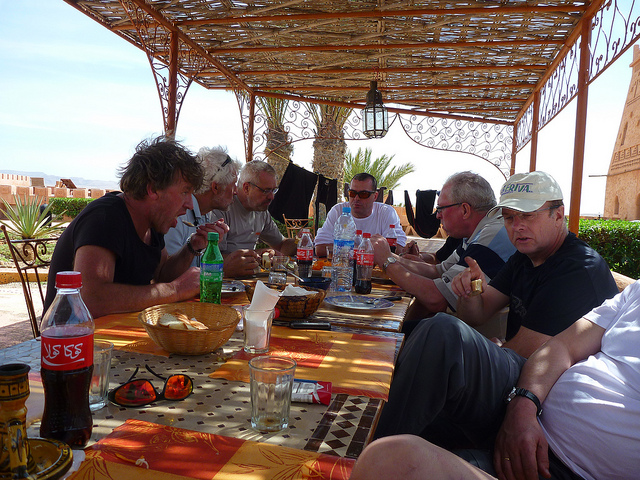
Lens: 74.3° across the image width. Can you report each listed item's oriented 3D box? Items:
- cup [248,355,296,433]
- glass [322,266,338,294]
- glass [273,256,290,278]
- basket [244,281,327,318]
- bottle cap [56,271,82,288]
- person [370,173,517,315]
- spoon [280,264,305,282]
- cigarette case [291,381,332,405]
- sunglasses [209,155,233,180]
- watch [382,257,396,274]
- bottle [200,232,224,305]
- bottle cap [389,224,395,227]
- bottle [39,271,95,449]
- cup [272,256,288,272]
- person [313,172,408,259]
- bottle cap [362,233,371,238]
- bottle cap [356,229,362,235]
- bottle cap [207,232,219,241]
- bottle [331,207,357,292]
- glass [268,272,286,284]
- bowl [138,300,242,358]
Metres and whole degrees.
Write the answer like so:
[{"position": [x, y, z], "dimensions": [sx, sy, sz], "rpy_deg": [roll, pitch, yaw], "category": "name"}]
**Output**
[{"position": [-0.139, 0.460, 1.220], "dimensions": [0.140, 0.172, 0.141], "rpy_deg": [-6, -19, -2], "category": "cup"}, {"position": [0.088, 0.289, 3.031], "dimensions": [0.131, 0.264, 0.138], "rpy_deg": [1, 0, 13], "category": "glass"}, {"position": [-0.259, 0.181, 2.909], "dimensions": [0.101, 0.120, 0.105], "rpy_deg": [2, 2, -11], "category": "glass"}, {"position": [-0.164, 0.281, 2.200], "dimensions": [0.415, 0.177, 0.451], "rpy_deg": [9, 5, 2], "category": "basket"}, {"position": [-0.656, 0.100, 1.133], "dimensions": [0.048, 0.031, 0.051], "rpy_deg": [1, 0, 13], "category": "bottle cap"}, {"position": [0.976, 0.037, 3.248], "dimensions": [1.146, 1.007, 0.915], "rpy_deg": [-9, 11, 8], "category": "person"}, {"position": [-0.182, 0.230, 2.912], "dimensions": [0.159, 0.029, 0.026], "rpy_deg": [39, -13, -7], "category": "spoon"}, {"position": [-0.020, 0.476, 1.347], "dimensions": [0.122, 0.035, 0.122], "rpy_deg": [5, 8, 2], "category": "cigarette case"}, {"position": [-0.789, -0.613, 3.513], "dimensions": [0.045, 0.176, 0.046], "rpy_deg": [39, -9, -34], "category": "sunglasses"}, {"position": [0.461, 0.153, 2.888], "dimensions": [0.067, 0.105, 0.104], "rpy_deg": [36, 19, 20], "category": "watch"}, {"position": [-0.520, 0.140, 2.212], "dimensions": [0.136, 0.359, 0.150], "rpy_deg": [3, 4, -3], "category": "bottle"}, {"position": [0.884, -0.182, 5.239], "dimensions": [0.045, 0.035, 0.026], "rpy_deg": [0, -2, 5], "category": "bottle cap"}, {"position": [-0.652, 0.293, 1.117], "dimensions": [0.122, 0.409, 0.280], "rpy_deg": [-1, 10, -30], "category": "bottle"}, {"position": [-0.256, 0.160, 2.896], "dimensions": [0.097, 0.078, 0.101], "rpy_deg": [1, 5, 0], "category": "cup"}, {"position": [0.461, -0.028, 5.219], "dimensions": [1.016, 1.575, 0.874], "rpy_deg": [6, -2, 16], "category": "person"}, {"position": [0.317, -0.032, 2.858], "dimensions": [0.033, 0.021, 0.034], "rpy_deg": [3, 4, 28], "category": "bottle cap"}, {"position": [0.296, -0.062, 3.225], "dimensions": [0.063, 0.051, 0.064], "rpy_deg": [0, 2, 6], "category": "bottle cap"}, {"position": [-0.565, -0.015, 2.259], "dimensions": [0.053, 0.041, 0.040], "rpy_deg": [1, -5, -10], "category": "bottle cap"}, {"position": [0.181, 0.089, 3.173], "dimensions": [0.224, 0.663, 0.233], "rpy_deg": [3, 5, 0], "category": "bottle"}, {"position": [-0.265, 0.230, 2.640], "dimensions": [0.064, 0.065, 0.092], "rpy_deg": [2, 0, 6], "category": "glass"}, {"position": [-0.483, 0.351, 1.659], "dimensions": [0.358, 0.153, 0.379], "rpy_deg": [7, 1, 0], "category": "bowl"}]
